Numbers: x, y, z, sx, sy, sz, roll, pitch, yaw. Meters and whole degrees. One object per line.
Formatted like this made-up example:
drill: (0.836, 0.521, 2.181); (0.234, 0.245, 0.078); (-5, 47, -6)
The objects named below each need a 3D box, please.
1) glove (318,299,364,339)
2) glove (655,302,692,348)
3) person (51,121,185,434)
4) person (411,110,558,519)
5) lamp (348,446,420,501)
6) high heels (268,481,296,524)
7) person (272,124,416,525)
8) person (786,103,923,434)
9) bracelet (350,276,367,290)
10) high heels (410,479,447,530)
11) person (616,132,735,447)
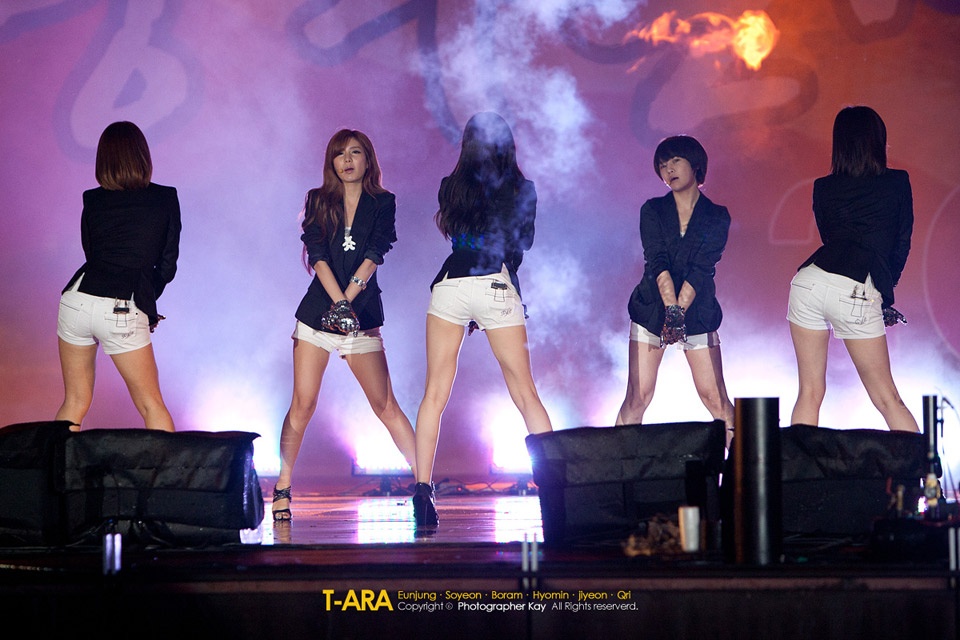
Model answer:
glove: (-0.831, 0.000, 5.935); (0.204, 0.213, 0.087); (-22, -3, 10)
glove: (1.243, 0.042, 6.305); (0.179, 0.247, 0.160); (0, -8, 3)
person: (-2.116, -0.267, 5.831); (0.726, 1.824, 0.421); (2, -8, -8)
person: (0.013, -0.010, 5.830); (0.773, 2.414, 0.394); (1, -8, -5)
lamp: (-0.780, 1.320, 8.007); (0.532, 0.519, 0.457); (2, -10, -13)
high heels: (-1.166, 1.092, 5.830); (0.106, 0.197, 0.129); (3, -8, -15)
person: (-0.814, 0.030, 6.094); (0.827, 2.379, 0.415); (3, -8, -13)
person: (2.209, -0.289, 5.919); (0.728, 1.912, 0.490); (-3, -8, 23)
bracelet: (-0.739, -0.228, 6.074); (0.065, 0.044, 0.079); (18, -49, 10)
high heels: (-0.310, 1.058, 5.637); (0.144, 0.235, 0.231); (1, -8, -3)
person: (1.255, -0.242, 6.425); (0.717, 1.896, 0.450); (-1, -8, 10)
